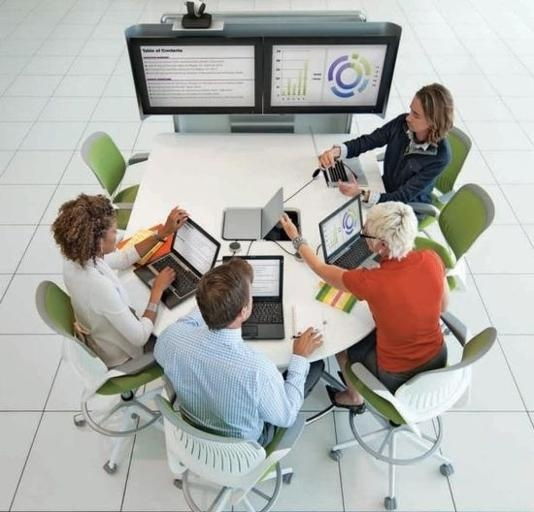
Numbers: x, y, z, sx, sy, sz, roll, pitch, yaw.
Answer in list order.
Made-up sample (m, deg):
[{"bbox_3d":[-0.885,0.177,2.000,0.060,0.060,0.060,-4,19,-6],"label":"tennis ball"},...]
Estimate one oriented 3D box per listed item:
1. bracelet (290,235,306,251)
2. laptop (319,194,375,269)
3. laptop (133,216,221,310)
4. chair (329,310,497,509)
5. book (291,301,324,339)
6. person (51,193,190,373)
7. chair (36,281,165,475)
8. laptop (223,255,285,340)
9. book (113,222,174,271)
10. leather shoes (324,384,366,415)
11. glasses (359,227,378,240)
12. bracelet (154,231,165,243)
[{"bbox_3d":[0.166,-0.072,2.220,0.052,0.069,0.038,1,70,0],"label":"bracelet"},{"bbox_3d":[0.428,-0.116,2.292,0.197,0.229,0.326,36,60,28],"label":"laptop"},{"bbox_3d":[-0.426,0.044,2.324,0.455,0.320,0.450,-35,75,-25],"label":"laptop"},{"bbox_3d":[0.718,0.829,2.180,0.590,0.904,0.553,-24,63,-15],"label":"chair"},{"bbox_3d":[0.193,0.296,2.037,0.129,0.032,0.136,-1,57,-5],"label":"book"},{"bbox_3d":[-0.681,0.131,2.039,0.538,0.889,0.409,-35,68,-29],"label":"person"},{"bbox_3d":[-0.841,0.612,2.240,0.792,0.563,0.610,38,46,12],"label":"chair"},{"bbox_3d":[-0.053,0.210,2.054,0.314,0.247,0.352,-1,57,0],"label":"laptop"},{"bbox_3d":[-0.666,-0.060,2.359,0.235,0.057,0.244,9,48,28],"label":"book"},{"bbox_3d":[0.453,0.862,2.520,0.274,0.093,0.103,30,92,8],"label":"leather shoes"},{"bbox_3d":[0.443,-0.090,1.886,0.062,0.018,0.060,-18,50,-37],"label":"glasses"},{"bbox_3d":[-0.579,-0.104,2.281,0.045,0.043,0.014,16,68,24],"label":"bracelet"}]
